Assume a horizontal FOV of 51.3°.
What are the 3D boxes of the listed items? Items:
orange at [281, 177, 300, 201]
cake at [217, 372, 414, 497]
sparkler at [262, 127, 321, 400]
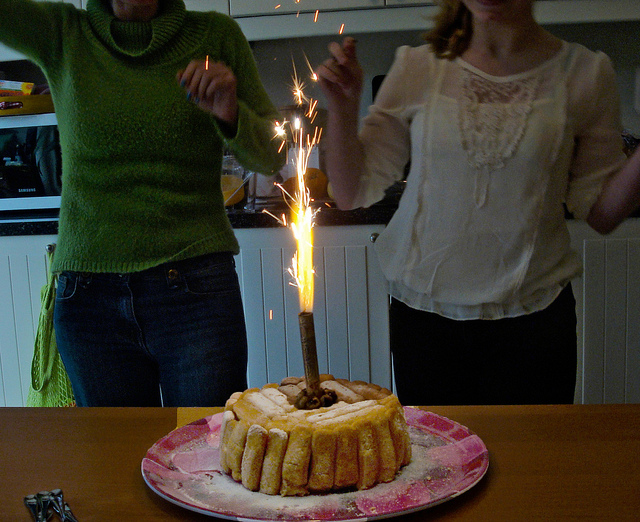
[{"bbox_3d":[-0.118,-0.286,2.667,0.076,0.080,0.079,3,-11,-12],"label":"orange"},{"bbox_3d":[-0.015,0.263,1.047,0.283,0.109,0.303,2,6,20],"label":"cake"},{"bbox_3d":[-0.088,0.031,1.988,0.155,0.998,0.200,0,11,3],"label":"sparkler"}]
